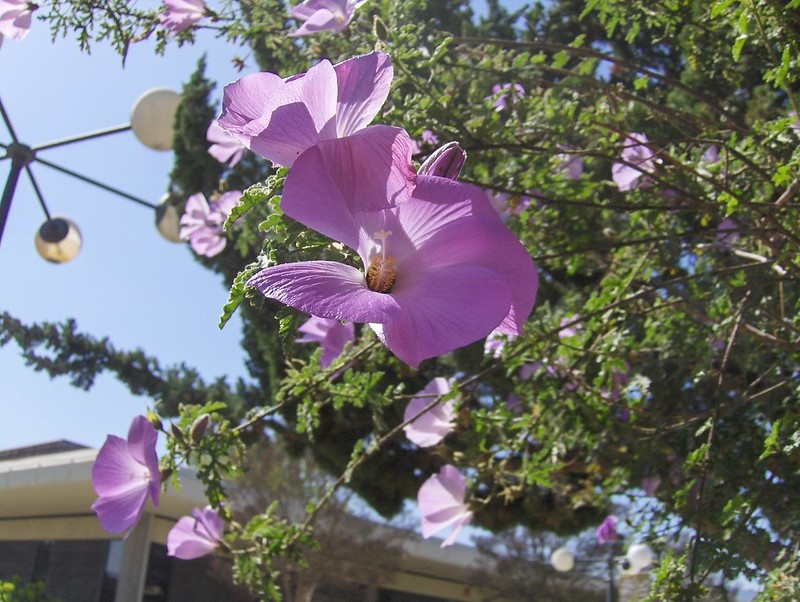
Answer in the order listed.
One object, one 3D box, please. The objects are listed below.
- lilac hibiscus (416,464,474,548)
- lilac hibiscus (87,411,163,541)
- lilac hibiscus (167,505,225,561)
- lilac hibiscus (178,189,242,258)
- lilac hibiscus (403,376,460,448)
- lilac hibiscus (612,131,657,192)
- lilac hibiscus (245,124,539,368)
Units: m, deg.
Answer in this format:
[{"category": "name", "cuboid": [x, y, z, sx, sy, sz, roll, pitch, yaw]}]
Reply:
[{"category": "lilac hibiscus", "cuboid": [0.065, 0.393, 2.168, 0.103, 0.109, 0.049, 26, -65, 31]}, {"category": "lilac hibiscus", "cuboid": [-0.518, 0.345, 2.143, 0.132, 0.206, 0.186, 9, -35, -12]}, {"category": "lilac hibiscus", "cuboid": [-0.407, 0.458, 2.260, 0.106, 0.106, 0.057, -37, -53, 4]}, {"category": "lilac hibiscus", "cuboid": [-0.490, -0.245, 3.108, 0.078, 0.168, 0.194, -24, -56, -27]}, {"category": "lilac hibiscus", "cuboid": [0.059, 0.209, 2.312, 0.118, 0.062, 0.146, -6, -32, -23]}, {"category": "lilac hibiscus", "cuboid": [0.479, -0.288, 2.354, 0.050, 0.119, 0.100, 6, -11, -22]}, {"category": "lilac hibiscus", "cuboid": [-0.019, -0.119, 1.873, 0.327, 0.373, 0.146, 17, -41, 31]}]
